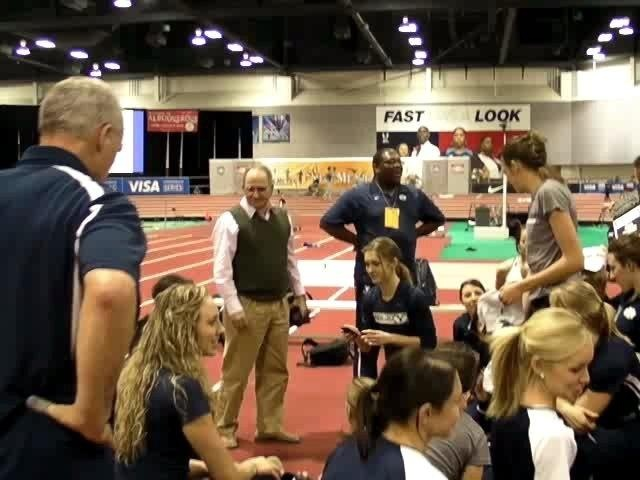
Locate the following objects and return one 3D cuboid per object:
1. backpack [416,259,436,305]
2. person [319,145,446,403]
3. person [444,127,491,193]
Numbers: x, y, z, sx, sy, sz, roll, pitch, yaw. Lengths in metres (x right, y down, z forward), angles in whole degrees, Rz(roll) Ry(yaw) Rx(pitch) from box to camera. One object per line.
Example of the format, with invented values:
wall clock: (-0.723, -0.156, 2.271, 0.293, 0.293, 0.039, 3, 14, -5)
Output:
backpack: (0.918, 0.359, 4.974, 0.111, 0.360, 0.261, -4, 3, 14)
person: (0.597, 0.219, 5.135, 1.098, 2.035, 0.502, -1, 4, -8)
person: (3.569, -2.029, 14.708, 0.995, 1.550, 0.986, 2, -11, 2)
